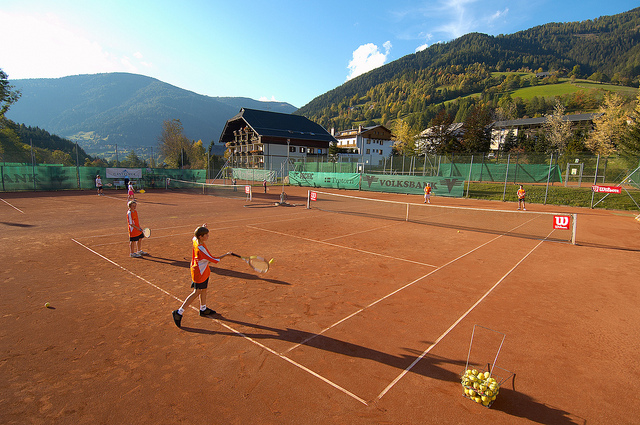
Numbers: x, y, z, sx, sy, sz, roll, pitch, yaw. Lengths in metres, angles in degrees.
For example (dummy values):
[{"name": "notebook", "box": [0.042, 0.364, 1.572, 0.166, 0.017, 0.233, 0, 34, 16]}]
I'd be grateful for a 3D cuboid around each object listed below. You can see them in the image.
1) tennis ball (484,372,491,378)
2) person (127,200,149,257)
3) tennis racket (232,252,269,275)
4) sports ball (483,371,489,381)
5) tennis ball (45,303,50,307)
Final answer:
[{"name": "tennis ball", "box": [4.632, 4.498, 11.344, 0.141, 0.129, 0.108, -1, 13, -10]}, {"name": "person", "box": [-7.518, 0.630, 16.828, 0.660, 2.293, 1.028, -5, 14, -25]}, {"name": "tennis racket", "box": [-2.064, 1.652, 13.298, 1.038, 0.579, 0.617, 22, 13, 25]}, {"name": "sports ball", "box": [4.646, 4.548, 11.399, 0.147, 0.220, 0.097, -4, -11, 20]}, {"name": "tennis ball", "box": [-9.007, 3.059, 13.550, 0.130, 0.085, 0.209, -8, 16, -36]}]
